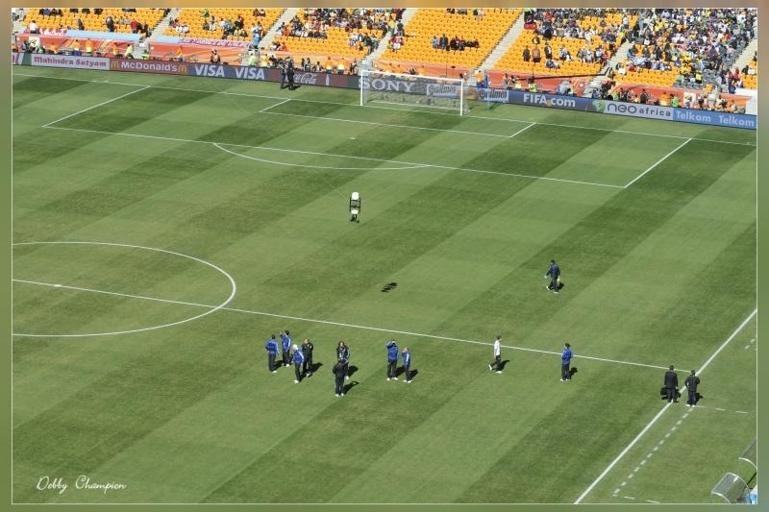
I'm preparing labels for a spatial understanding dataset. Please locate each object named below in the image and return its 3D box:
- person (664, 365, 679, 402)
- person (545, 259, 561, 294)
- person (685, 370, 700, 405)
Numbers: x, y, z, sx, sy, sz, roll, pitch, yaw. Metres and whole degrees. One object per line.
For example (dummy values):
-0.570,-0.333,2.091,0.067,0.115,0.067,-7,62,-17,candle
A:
11.129,4.908,54.415,0.638,1.545,0.545,8,25,11,person
7.497,0.833,62.219,0.614,1.366,1.110,4,24,5,person
11.983,4.990,54.669,0.579,1.424,1.172,8,24,12,person
